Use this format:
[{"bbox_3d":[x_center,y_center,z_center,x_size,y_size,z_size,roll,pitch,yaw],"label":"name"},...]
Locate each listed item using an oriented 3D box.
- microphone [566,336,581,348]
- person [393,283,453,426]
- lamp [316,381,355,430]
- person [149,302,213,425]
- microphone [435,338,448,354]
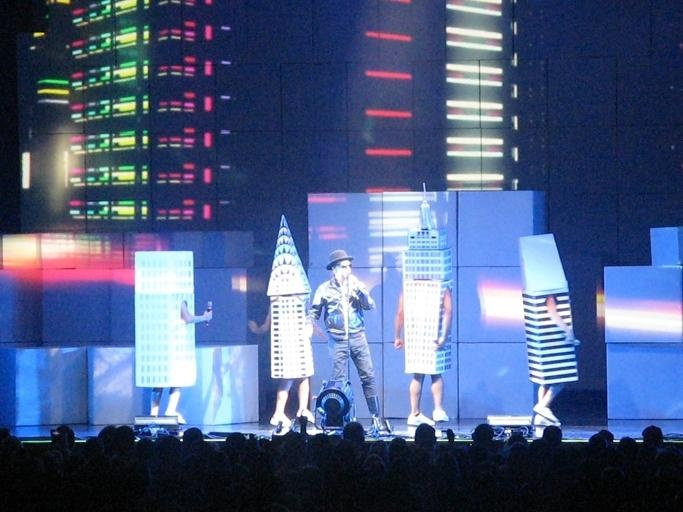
[{"bbox_3d":[2.592,0.961,15.727,0.134,0.104,0.117,0,-7,-6],"label":"microphone"},{"bbox_3d":[0.951,1.183,16.130,0.681,1.539,0.676,-2,-7,6],"label":"person"},{"bbox_3d":[-0.019,1.561,15.263,0.460,0.481,0.754,-1,10,15],"label":"lamp"},{"bbox_3d":[-1.794,1.199,15.711,0.688,1.370,1.066,0,-7,-8],"label":"person"},{"bbox_3d":[1.146,1.021,15.851,0.188,0.127,0.060,5,-9,-41],"label":"microphone"}]
